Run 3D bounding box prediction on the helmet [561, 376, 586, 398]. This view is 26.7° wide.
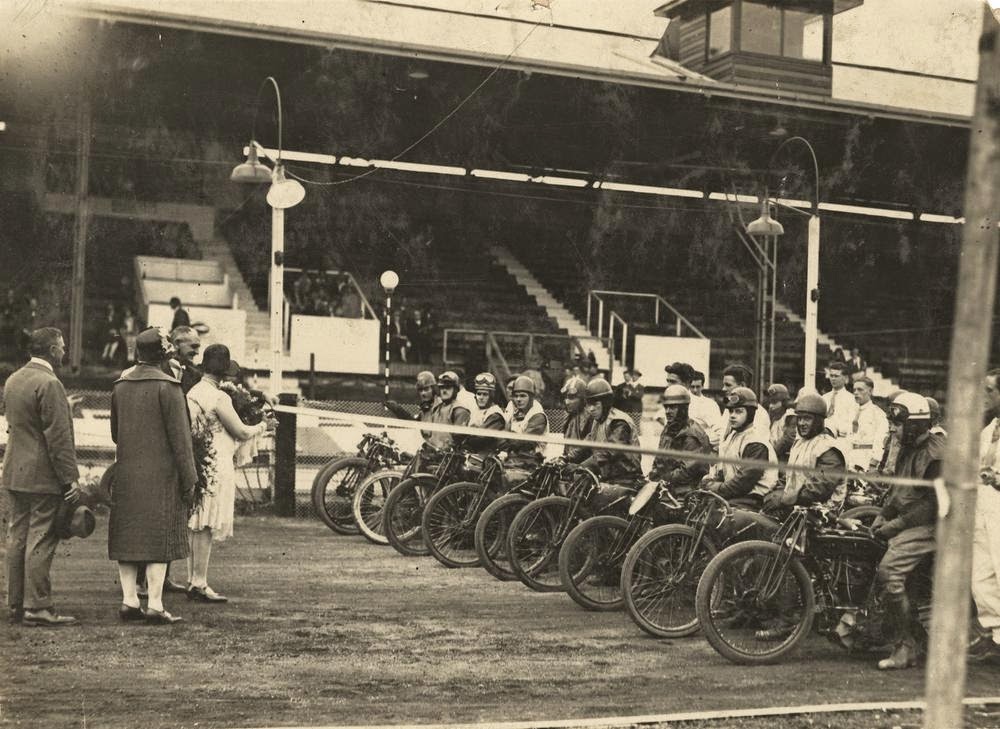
[{"bbox_3d":[0.638,0.203,18.315,0.140,0.170,0.147,12,6,-39],"label":"helmet"}]

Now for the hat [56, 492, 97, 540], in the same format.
[{"bbox_3d":[-3.370,1.230,16.801,0.201,0.396,0.268,-5,-3,22],"label":"hat"}]

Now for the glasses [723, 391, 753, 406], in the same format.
[{"bbox_3d":[1.993,0.291,17.468,0.159,0.105,0.127,3,-5,-30],"label":"glasses"}]

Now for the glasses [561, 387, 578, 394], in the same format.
[{"bbox_3d":[0.604,0.238,18.396,0.079,0.033,0.063,-9,-13,32],"label":"glasses"}]

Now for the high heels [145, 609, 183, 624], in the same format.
[{"bbox_3d":[-2.647,2.015,16.668,0.292,0.123,0.112,5,-1,-20],"label":"high heels"}]

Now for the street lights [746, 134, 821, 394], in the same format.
[{"bbox_3d":[2.415,-0.885,17.842,0.778,2.155,0.478,-1,3,-17],"label":"street lights"}]

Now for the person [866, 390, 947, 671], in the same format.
[{"bbox_3d":[3.212,1.321,16.667,0.560,2.158,0.563,0,3,10],"label":"person"}]

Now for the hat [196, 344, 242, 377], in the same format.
[{"bbox_3d":[-2.369,-0.023,17.809,0.235,0.217,0.363,3,7,3],"label":"hat"}]

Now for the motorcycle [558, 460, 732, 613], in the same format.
[{"bbox_3d":[1.322,1.512,18.313,0.905,1.345,2.182,15,5,35],"label":"motorcycle"}]

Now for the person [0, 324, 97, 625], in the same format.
[{"bbox_3d":[-3.604,1.048,16.625,0.590,2.002,0.467,-1,3,-10],"label":"person"}]

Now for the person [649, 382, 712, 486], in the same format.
[{"bbox_3d":[1.541,0.638,18.029,0.564,0.903,0.578,-3,12,7],"label":"person"}]

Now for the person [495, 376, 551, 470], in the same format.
[{"bbox_3d":[0.178,0.575,19.485,0.502,0.893,0.490,5,-1,-34],"label":"person"}]

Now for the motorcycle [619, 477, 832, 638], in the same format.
[{"bbox_3d":[1.895,1.608,17.418,2.166,1.212,0.705,-8,13,-30],"label":"motorcycle"}]

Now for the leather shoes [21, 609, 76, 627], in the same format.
[{"bbox_3d":[-3.505,1.988,16.519,0.425,0.198,0.148,2,-4,-11],"label":"leather shoes"}]

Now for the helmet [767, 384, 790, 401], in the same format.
[{"bbox_3d":[2.331,0.243,17.740,0.118,0.117,0.134,7,5,9],"label":"helmet"}]

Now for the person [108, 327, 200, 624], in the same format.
[{"bbox_3d":[-2.751,0.896,16.737,0.671,2.324,0.430,-1,3,-10],"label":"person"}]

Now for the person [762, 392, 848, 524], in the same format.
[{"bbox_3d":[2.546,0.746,17.452,0.583,1.061,0.723,-6,12,-9],"label":"person"}]

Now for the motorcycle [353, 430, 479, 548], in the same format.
[{"bbox_3d":[-0.867,1.119,20.488,0.814,1.278,2.154,7,-7,-8],"label":"motorcycle"}]

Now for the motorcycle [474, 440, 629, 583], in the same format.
[{"bbox_3d":[0.459,1.265,18.922,1.531,0.799,0.624,-15,-1,-21],"label":"motorcycle"}]

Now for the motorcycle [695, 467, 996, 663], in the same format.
[{"bbox_3d":[2.476,1.754,16.692,2.311,1.390,1.162,7,-10,-13],"label":"motorcycle"}]

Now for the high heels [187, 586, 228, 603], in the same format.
[{"bbox_3d":[-2.384,1.896,17.290,0.325,0.143,0.131,2,-5,4],"label":"high heels"}]

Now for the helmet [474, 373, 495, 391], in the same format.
[{"bbox_3d":[-0.125,0.165,18.703,0.117,0.135,0.166,3,7,9],"label":"helmet"}]

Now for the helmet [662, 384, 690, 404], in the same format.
[{"bbox_3d":[1.469,0.265,17.692,0.166,0.150,0.156,2,8,5],"label":"helmet"}]

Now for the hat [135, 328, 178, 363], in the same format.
[{"bbox_3d":[-2.770,-0.145,16.985,0.224,0.259,0.319,0,-5,-5],"label":"hat"}]

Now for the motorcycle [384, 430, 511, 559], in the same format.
[{"bbox_3d":[-0.612,1.184,19.837,1.387,0.894,0.733,5,0,-5],"label":"motorcycle"}]

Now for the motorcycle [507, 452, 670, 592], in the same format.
[{"bbox_3d":[0.571,1.442,18.681,0.687,1.075,1.906,15,-3,26],"label":"motorcycle"}]

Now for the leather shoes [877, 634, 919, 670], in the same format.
[{"bbox_3d":[3.128,2.300,16.607,0.378,0.292,0.158,-1,-1,-4],"label":"leather shoes"}]

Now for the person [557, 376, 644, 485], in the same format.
[{"bbox_3d":[0.977,0.575,18.722,0.758,1.122,0.812,-2,7,-19],"label":"person"}]

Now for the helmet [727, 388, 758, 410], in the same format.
[{"bbox_3d":[2.012,0.296,17.488,0.188,0.161,0.157,5,-5,-5],"label":"helmet"}]

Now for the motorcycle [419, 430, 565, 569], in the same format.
[{"bbox_3d":[0.074,1.340,19.371,1.423,0.897,0.731,8,-7,-17],"label":"motorcycle"}]
